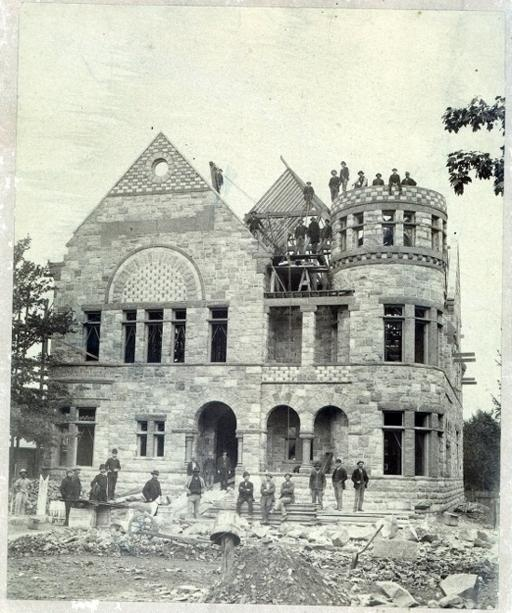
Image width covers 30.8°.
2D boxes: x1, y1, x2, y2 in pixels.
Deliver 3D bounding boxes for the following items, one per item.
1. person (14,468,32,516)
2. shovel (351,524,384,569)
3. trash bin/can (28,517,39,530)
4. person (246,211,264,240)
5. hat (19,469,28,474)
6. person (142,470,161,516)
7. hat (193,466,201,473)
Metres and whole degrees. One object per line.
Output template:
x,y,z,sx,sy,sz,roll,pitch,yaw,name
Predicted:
-5.850,4.775,23.223,0.401,0.853,0.469,4,-11,-15,person
2.577,5.627,21.677,0.254,0.949,1.373,-5,-13,31,shovel
-5.453,5.331,22.811,0.234,0.255,0.216,8,-32,-16,trash bin/can
-0.023,-2.316,27.134,0.393,0.878,1.187,-2,-11,16,person
-5.924,4.218,23.716,0.108,0.072,0.108,-5,5,-38,hat
-2.586,4.713,23.444,0.436,1.095,0.602,-4,-11,26,person
-1.520,4.194,23.768,0.096,0.125,0.112,5,-16,-35,hat
